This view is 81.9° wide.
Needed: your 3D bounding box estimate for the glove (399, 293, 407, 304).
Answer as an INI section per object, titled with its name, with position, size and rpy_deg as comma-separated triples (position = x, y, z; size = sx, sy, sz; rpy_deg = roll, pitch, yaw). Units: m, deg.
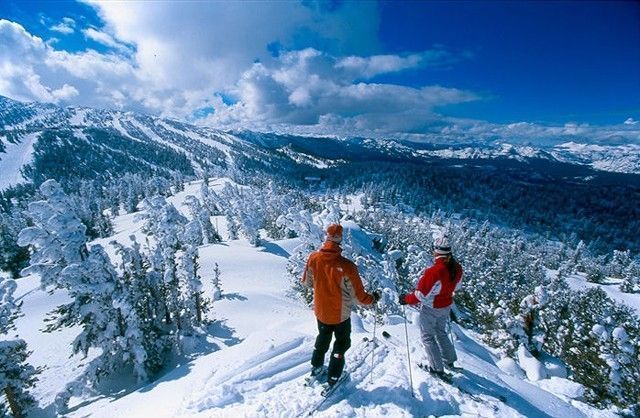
[glove]
position = 6.343, 6.997, 28.854
size = 0.651, 0.735, 0.781
rpy_deg = -1, 8, -15
